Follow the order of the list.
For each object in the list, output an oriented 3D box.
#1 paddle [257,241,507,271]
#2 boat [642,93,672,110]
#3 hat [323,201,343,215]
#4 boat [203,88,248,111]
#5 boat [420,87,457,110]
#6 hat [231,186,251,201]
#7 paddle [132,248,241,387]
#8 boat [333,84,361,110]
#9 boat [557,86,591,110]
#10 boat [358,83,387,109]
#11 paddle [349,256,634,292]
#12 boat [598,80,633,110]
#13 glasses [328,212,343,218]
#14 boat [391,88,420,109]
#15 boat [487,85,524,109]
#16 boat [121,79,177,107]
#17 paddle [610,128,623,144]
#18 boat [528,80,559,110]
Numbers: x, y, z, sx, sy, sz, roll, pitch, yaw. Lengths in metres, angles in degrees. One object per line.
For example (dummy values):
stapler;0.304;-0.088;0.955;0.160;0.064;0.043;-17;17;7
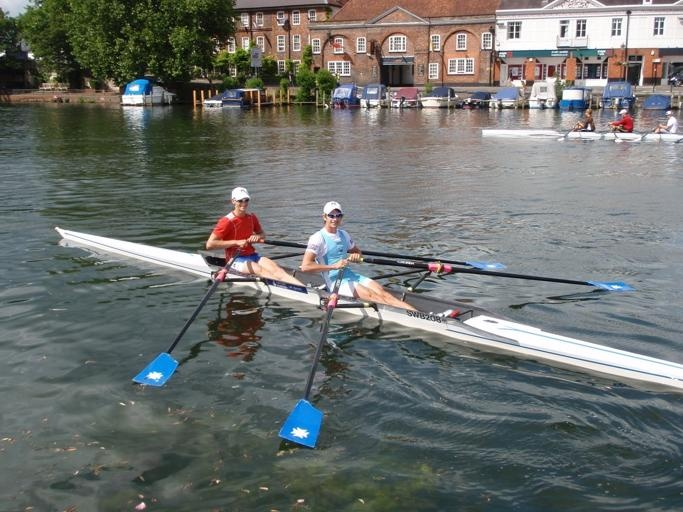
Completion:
paddle;0.808;0.008;12.513;4.939;0.131;0.578;2;11;13
boat;28.219;-13.837;57.494;2.140;1.632;3.398;5;12;23
hat;-0.141;-0.801;10.686;0.466;0.194;0.487;2;3;-15
boat;-11.651;-15.725;64.095;3.775;1.954;1.963;1;13;9
boat;9.504;-15.620;63.110;3.285;2.089;1.654;2;14;10
hat;-1.834;-1.114;11.538;0.238;0.228;0.360;-5;12;-19
paddle;-2.157;1.115;10.162;0.528;0.176;3.004;14;31;27
boat;0.234;-16.340;65.331;2.098;2.629;3.267;4;13;18
boat;21.395;-14.598;59.228;2.558;2.288;2.267;2;13;13
boat;3.263;-16.158;64.713;2.571;2.506;2.026;-3;13;-9
paddle;2.783;0.362;12.256;4.795;0.148;0.399;4;2;3
boat;24.068;-14.164;56.334;2.702;2.403;1.718;6;15;28
glasses;-0.119;-0.667;10.477;0.194;0.077;0.087;-8;14;-35
boat;6.426;-16.068;64.963;2.692;2.238;2.255;-6;14;-22
boat;15.704;-15.229;61.774;3.644;1.173;3.611;1;23;9
boat;-20.067;-17.147;67.639;3.715;2.774;7.815;3;10;15
paddle;14.124;-6.348;33.158;0.640;0.859;1.838;4;11;20
boat;19.188;-15.377;60.884;1.984;2.721;2.586;-5;14;-18
